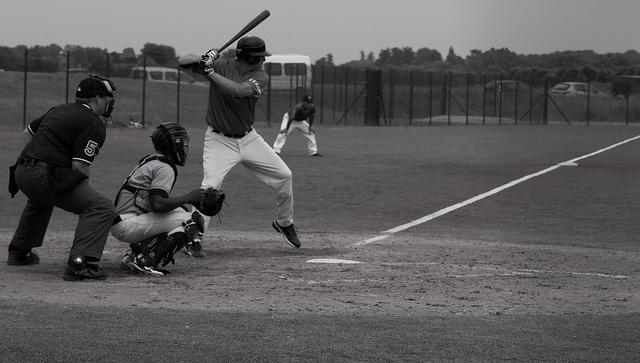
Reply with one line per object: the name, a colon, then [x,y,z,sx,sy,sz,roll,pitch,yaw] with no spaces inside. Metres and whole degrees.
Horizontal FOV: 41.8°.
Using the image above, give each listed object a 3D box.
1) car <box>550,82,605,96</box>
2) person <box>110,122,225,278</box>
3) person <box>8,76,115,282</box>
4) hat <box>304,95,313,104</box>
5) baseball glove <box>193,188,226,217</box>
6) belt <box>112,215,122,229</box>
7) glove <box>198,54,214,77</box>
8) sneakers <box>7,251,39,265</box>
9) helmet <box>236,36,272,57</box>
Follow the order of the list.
car: [16.710,-5.911,53.500,3.444,0.907,1.426,-4,12,-21]
person: [-2.407,0.291,12.767,1.532,2.277,0.793,-3,17,-19]
person: [-3.842,-0.063,12.447,1.672,2.912,1.083,4,16,7]
hat: [-0.367,-2.520,25.624,0.300,0.216,0.199,-5,21,-3]
baseball glove: [-1.852,0.324,13.494,0.635,0.453,0.442,2,-9,-19]
belt: [-3.065,0.587,12.644,0.157,0.128,0.041,21,-9,41]
glove: [-1.834,-1.869,13.610,0.301,0.399,0.156,-13,-42,18]
sneakers: [-4.553,1.169,12.872,0.456,0.234,0.208,-2,12,-14]
helmet: [-1.104,-2.221,13.813,0.554,0.335,0.441,1,14,-5]
